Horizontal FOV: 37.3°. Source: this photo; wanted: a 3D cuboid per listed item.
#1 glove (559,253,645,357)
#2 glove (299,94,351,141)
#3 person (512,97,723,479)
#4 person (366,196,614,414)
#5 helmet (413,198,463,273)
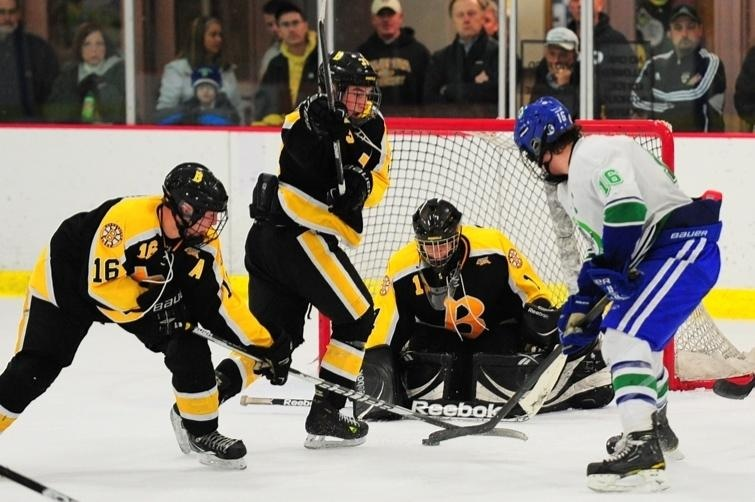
[{"bbox_3d":[1.152,0.309,5.870,0.220,0.530,0.308,30,10,-6],"label":"glove"},{"bbox_3d":[-0.286,-0.732,6.155,0.276,0.193,0.105,39,-26,-9],"label":"glove"},{"bbox_3d":[1.237,0.183,5.833,1.008,1.890,0.648,6,11,16],"label":"person"},{"bbox_3d":[0.657,0.486,7.328,1.388,1.057,1.386,-14,6,10],"label":"person"},{"bbox_3d":[0.377,-0.082,6.725,0.314,0.350,0.396,-2,33,11],"label":"helmet"}]
